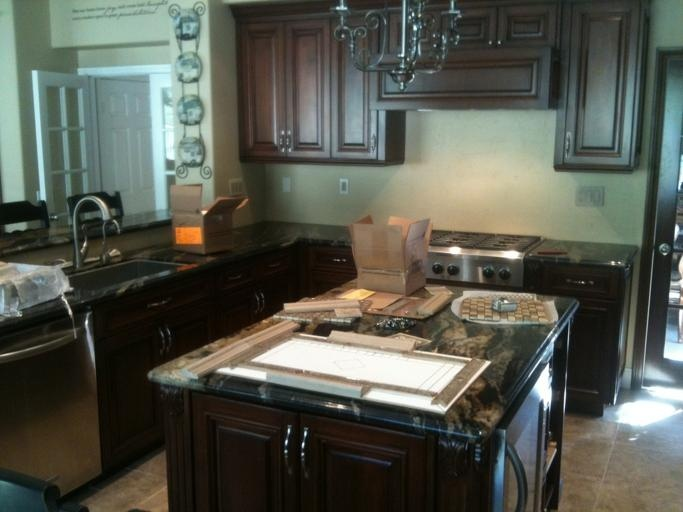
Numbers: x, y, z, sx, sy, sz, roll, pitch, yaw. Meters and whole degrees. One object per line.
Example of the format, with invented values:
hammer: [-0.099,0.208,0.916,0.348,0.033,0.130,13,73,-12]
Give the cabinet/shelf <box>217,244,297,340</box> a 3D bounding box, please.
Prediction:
cabinet/shelf: [-0.714,0.277,3.956,0.294,0.576,0.934,5,13,27]

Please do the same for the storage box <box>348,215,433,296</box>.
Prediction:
storage box: [0.232,-0.021,2.689,0.386,0.372,0.366,0,15,8]

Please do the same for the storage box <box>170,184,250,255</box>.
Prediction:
storage box: [-0.932,-0.266,3.806,0.498,0.457,0.472,-6,10,-43]

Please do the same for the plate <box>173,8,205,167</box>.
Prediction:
plate: [-1.170,-1.325,4.206,0.273,1.226,0.092,3,13,16]

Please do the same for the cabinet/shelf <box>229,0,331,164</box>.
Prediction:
cabinet/shelf: [-0.460,-1.438,4.285,0.972,1.390,0.549,3,11,14]
